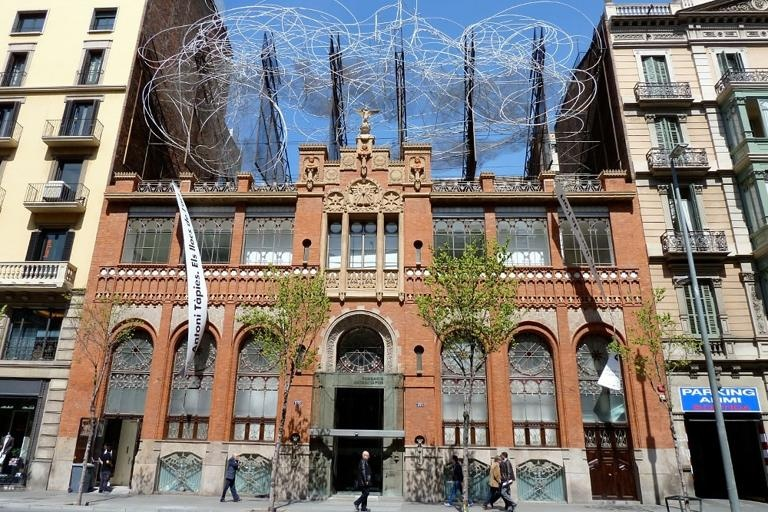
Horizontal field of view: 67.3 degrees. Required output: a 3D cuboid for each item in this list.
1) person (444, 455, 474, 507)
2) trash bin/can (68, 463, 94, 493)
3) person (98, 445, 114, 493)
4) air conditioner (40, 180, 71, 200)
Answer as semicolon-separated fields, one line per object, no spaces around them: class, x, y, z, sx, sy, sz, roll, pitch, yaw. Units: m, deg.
person;3.886;12.391;31.908;0.958;2.653;1.056;-1;-20;4
trash bin/can;-17.099;12.591;32.661;1.207;1.555;1.518;10;-23;-25
person;-15.954;12.242;33.140;0.745;2.550;1.007;8;-22;-19
air conditioner;-21.289;-4.073;37.686;1.625;1.548;1.251;-1;-2;11
